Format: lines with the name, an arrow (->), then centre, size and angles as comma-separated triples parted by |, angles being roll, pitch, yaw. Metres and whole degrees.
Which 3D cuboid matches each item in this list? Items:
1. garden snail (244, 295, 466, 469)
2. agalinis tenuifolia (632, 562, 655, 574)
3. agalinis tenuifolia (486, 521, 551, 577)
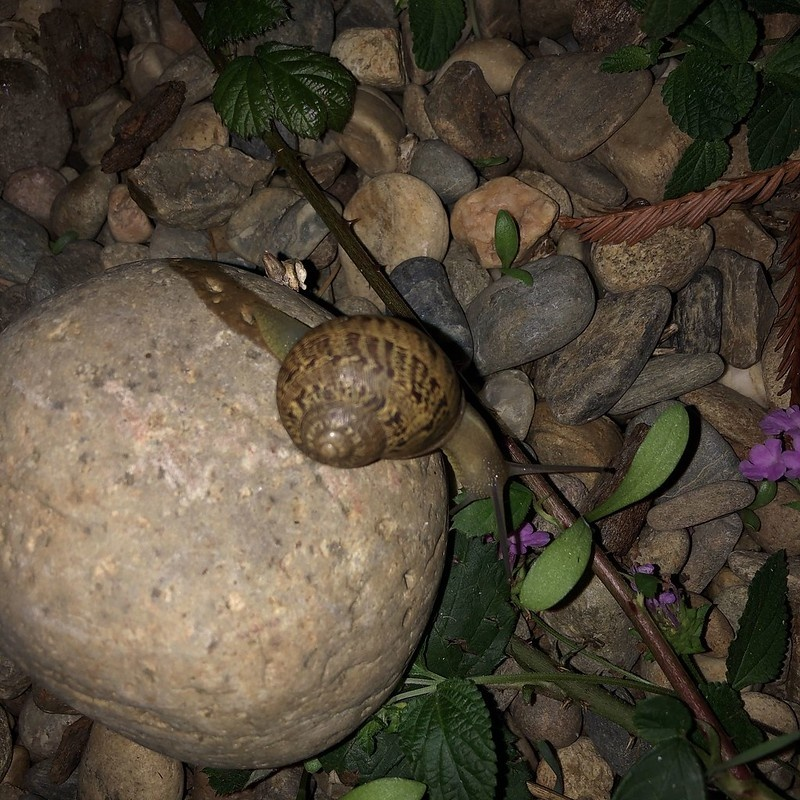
garden snail -> -0.104, -0.036, 2.888 | 0.553, 0.197, 0.457 | -9, 85, -2
agalinis tenuifolia -> 0.950, 0.662, 3.606 | 0.076, 0.034, 0.062 | 9, 53, -21
agalinis tenuifolia -> 0.467, 0.567, 3.562 | 0.263, 0.308, 0.126 | -8, 91, 27
